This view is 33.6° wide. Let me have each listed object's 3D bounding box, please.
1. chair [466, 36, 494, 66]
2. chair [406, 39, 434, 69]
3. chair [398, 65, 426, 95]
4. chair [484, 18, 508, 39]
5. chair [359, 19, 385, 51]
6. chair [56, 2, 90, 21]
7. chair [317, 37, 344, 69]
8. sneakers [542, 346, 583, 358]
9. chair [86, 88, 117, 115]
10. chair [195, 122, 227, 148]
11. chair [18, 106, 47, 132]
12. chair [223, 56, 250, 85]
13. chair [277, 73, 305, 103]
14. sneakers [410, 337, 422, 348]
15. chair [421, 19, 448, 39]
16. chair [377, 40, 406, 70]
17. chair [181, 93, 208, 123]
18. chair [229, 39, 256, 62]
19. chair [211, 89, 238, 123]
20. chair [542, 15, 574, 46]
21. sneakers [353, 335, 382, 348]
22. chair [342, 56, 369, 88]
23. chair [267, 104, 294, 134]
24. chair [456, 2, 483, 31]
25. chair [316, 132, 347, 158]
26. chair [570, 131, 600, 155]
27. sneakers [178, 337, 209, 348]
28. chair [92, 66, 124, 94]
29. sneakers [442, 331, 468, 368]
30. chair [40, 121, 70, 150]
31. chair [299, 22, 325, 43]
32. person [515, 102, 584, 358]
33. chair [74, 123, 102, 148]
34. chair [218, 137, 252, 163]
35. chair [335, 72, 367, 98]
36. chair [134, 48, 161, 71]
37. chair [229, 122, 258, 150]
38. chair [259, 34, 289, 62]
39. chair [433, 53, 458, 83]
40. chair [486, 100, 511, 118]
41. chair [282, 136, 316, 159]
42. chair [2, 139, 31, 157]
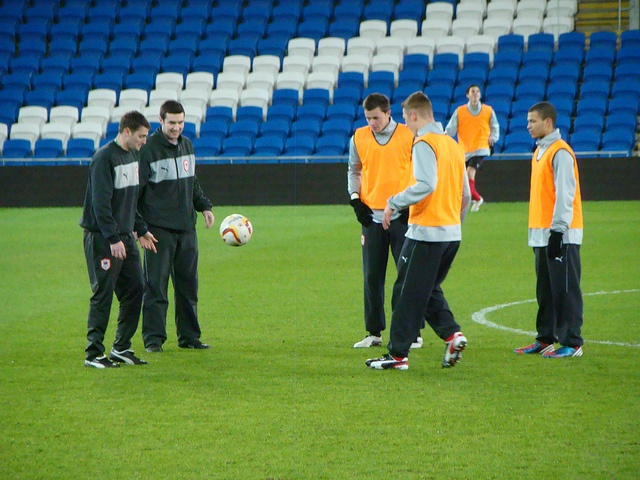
[{"bbox_3d":[3.989,-4.756,26.437,0.606,0.855,0.751,1,4,21],"label":"chair"},{"bbox_3d":[2.560,-4.715,26.567,0.655,0.869,0.722,1,4,18],"label":"chair"},{"bbox_3d":[2.113,-3.853,25.493,0.640,0.816,0.703,4,13,7],"label":"chair"},{"bbox_3d":[4.446,-5.373,26.784,0.519,0.665,0.553,0,-3,10],"label":"chair"},{"bbox_3d":[1.364,-5.269,27.142,0.580,0.730,0.639,3,18,7],"label":"chair"},{"bbox_3d":[-6.750,-6.246,28.850,0.623,0.540,0.632,2,33,-5],"label":"chair"},{"bbox_3d":[0.273,-4.825,26.815,0.545,0.704,0.630,0,5,7],"label":"chair"},{"bbox_3d":[3.262,1.493,14.237,0.520,0.197,0.189,2,-8,-3],"label":"sneakers"},{"bbox_3d":[-5.362,-3.396,25.996,0.532,0.741,0.649,1,8,-3],"label":"chair"},{"bbox_3d":[-2.473,-2.482,24.559,0.495,0.442,0.483,-2,4,4],"label":"chair"},{"bbox_3d":[-7.004,-2.958,25.637,0.507,0.663,0.545,10,18,-8],"label":"chair"},{"bbox_3d":[-2.091,-4.283,26.647,0.721,0.701,0.539,1,-2,0],"label":"chair"},{"bbox_3d":[-0.729,-3.751,26.138,0.679,0.837,0.684,0,-10,-3],"label":"chair"},{"bbox_3d":[1.331,1.398,14.540,0.172,0.134,0.075,-12,-40,21],"label":"sneakers"},{"bbox_3d":[2.930,-5.380,27.028,0.523,0.625,0.573,3,12,13],"label":"chair"},{"bbox_3d":[1.781,-4.679,26.618,0.671,0.827,0.736,3,10,13],"label":"chair"},{"bbox_3d":[-3.151,-3.311,25.489,0.600,0.779,0.701,0,3,2],"label":"chair"},{"bbox_3d":[-2.009,-4.883,27.278,0.509,0.678,0.614,1,14,2],"label":"chair"},{"bbox_3d":[-2.299,-3.308,25.810,0.604,0.800,0.662,0,-5,3],"label":"chair"},{"bbox_3d":[5.813,-5.287,26.496,0.776,1.032,0.928,1,9,16],"label":"chair"},{"bbox_3d":[0.670,1.396,14.620,0.415,0.183,0.151,-2,1,-14],"label":"sneakers"},{"bbox_3d":[0.904,-4.202,26.515,0.761,0.924,0.692,1,-1,-18],"label":"chair"},{"bbox_3d":[-0.955,-2.814,24.763,0.693,0.609,0.794,0,35,3],"label":"chair"},{"bbox_3d":[3.815,-5.743,27.319,0.657,0.828,0.753,0,3,13],"label":"chair"},{"bbox_3d":[0.216,-2.141,23.919,0.559,0.497,0.572,1,0,7],"label":"chair"},{"bbox_3d":[5.886,-2.206,23.433,0.538,0.788,0.700,1,-2,15],"label":"chair"},{"bbox_3d":[-1.758,1.392,14.612,0.436,0.190,0.149,2,0,-1],"label":"sneakers"},{"bbox_3d":[-5.330,-4.005,26.449,0.511,0.583,0.641,-1,-4,-9],"label":"chair"},{"bbox_3d":[1.734,1.390,13.832,0.191,0.536,0.259,21,16,-7],"label":"sneakers"},{"bbox_3d":[-6.285,-2.471,25.238,0.680,0.824,0.621,2,-1,-26],"label":"chair"},{"bbox_3d":[-0.211,-5.407,27.633,0.523,0.664,0.571,1,19,7],"label":"chair"},{"bbox_3d":[3.105,-0.132,14.096,0.755,3.379,0.381,0,2,10],"label":"person"},{"bbox_3d":[-5.472,-2.480,25.119,0.575,0.764,0.630,1,-1,0],"label":"chair"},{"bbox_3d":[-1.951,-2.062,23.734,0.680,0.714,0.549,5,0,14],"label":"chair"},{"bbox_3d":[0.735,-3.792,25.814,0.566,0.565,0.558,-1,0,3],"label":"chair"},{"bbox_3d":[-4.429,-4.505,26.929,0.685,0.599,0.498,0,2,4],"label":"chair"},{"bbox_3d":[-1.792,-2.458,24.515,0.537,0.640,0.505,2,2,7],"label":"chair"},{"bbox_3d":[-1.225,-4.934,27.361,0.563,0.698,0.640,2,28,9],"label":"chair"},{"bbox_3d":[3.081,-4.197,25.974,0.622,0.582,0.633,1,-6,10],"label":"chair"},{"bbox_3d":[4.139,-3.033,24.466,0.403,0.536,0.464,1,7,7],"label":"chair"},{"bbox_3d":[-0.463,-2.175,24.220,0.559,0.578,0.539,1,-1,10],"label":"chair"},{"bbox_3d":[-7.021,-2.117,24.445,0.508,0.450,0.508,1,-10,-3],"label":"chair"}]
